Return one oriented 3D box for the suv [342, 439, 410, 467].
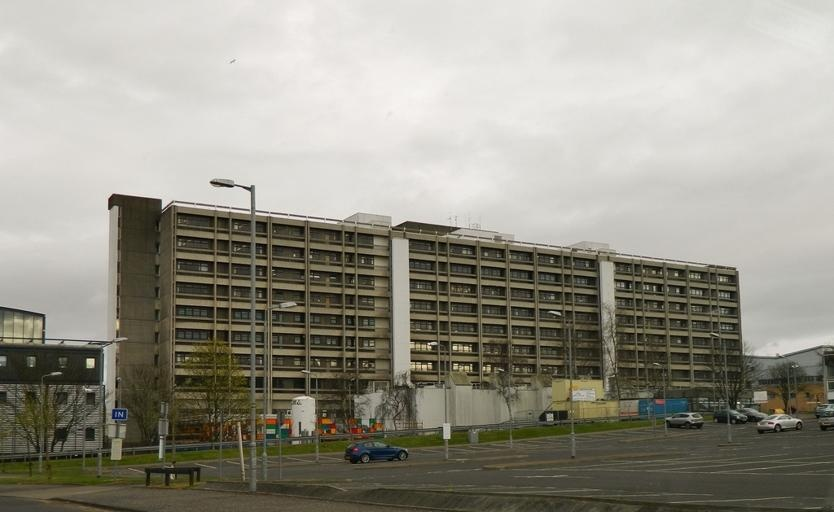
[{"bbox_3d":[-4.955,24.341,145.466,7.100,2.114,3.000,-1,-4,-20],"label":"suv"}]
